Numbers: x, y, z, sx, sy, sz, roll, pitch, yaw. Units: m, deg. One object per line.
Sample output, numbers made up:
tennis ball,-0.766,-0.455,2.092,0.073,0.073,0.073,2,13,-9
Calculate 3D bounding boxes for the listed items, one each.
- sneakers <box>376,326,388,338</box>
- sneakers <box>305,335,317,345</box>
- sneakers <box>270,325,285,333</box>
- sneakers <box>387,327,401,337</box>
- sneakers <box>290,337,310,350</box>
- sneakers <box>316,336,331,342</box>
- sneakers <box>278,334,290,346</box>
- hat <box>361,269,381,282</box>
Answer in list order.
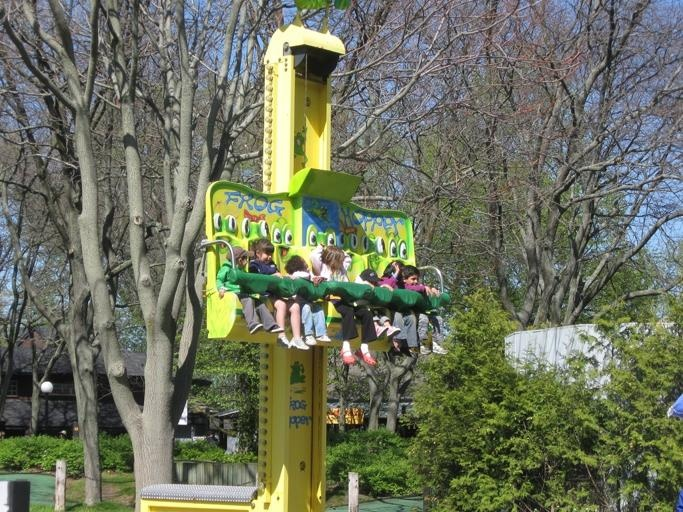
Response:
sneakers,0.860,1.564,22.974,0.123,0.322,0.110,12,-29,35
sneakers,-0.639,1.716,22.348,0.159,0.138,0.310,1,-3,-7
sneakers,-1.312,1.467,22.054,0.291,0.147,0.116,-10,-10,38
sneakers,1.099,1.577,22.997,0.371,0.179,0.134,-27,-26,38
sneakers,-0.833,1.796,22.272,0.441,0.255,0.183,11,1,23
sneakers,-0.362,1.688,22.460,0.289,0.152,0.120,-5,-3,7
sneakers,-1.192,1.703,22.233,0.243,0.263,0.218,2,-7,-5
hat,0.633,0.405,23.462,0.315,0.194,0.226,30,15,38
